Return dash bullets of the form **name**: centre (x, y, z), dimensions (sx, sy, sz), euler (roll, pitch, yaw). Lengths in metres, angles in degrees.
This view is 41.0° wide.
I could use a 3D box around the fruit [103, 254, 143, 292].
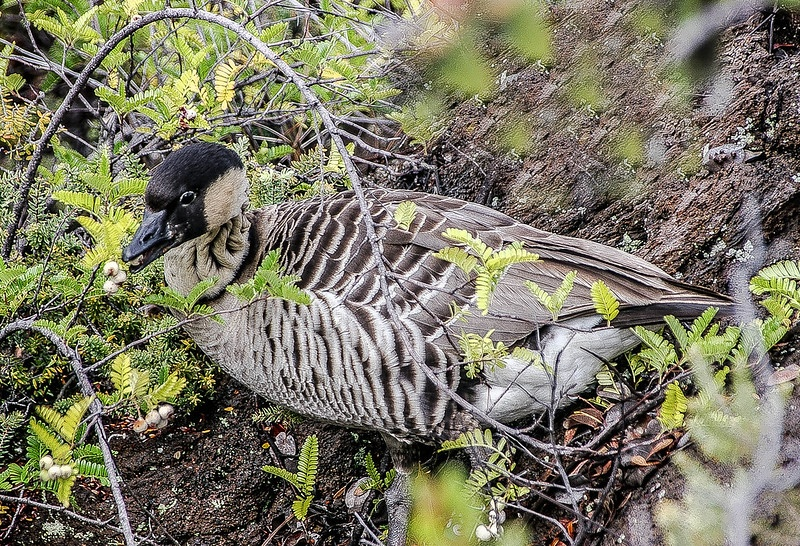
- **fruit**: centre (-1.326, 0.005, 5.006), dimensions (0.125, 0.166, 0.075), euler (7, 15, -1)
